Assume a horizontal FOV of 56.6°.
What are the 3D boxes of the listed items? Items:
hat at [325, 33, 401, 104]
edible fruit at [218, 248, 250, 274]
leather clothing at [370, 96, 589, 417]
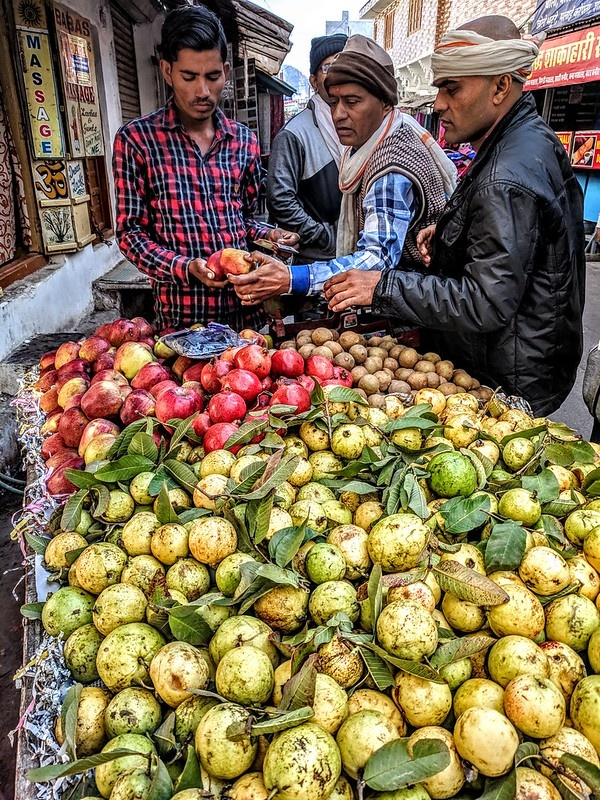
[{"bbox_3d":[0.308,-1.536,2.637,0.335,0.291,0.251,-7,21,-34],"label":"hat"},{"bbox_3d":[-0.313,-0.640,2.682,0.149,0.083,0.113,25,54,35],"label":"edible fruit"},{"bbox_3d":[0.913,-0.711,2.634,0.798,1.223,1.317,2,33,21],"label":"leather clothing"}]
